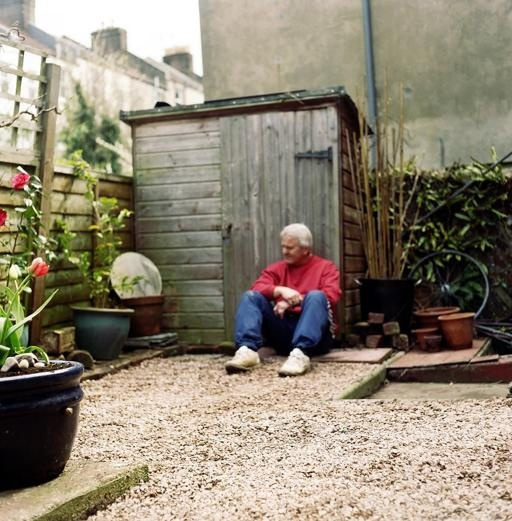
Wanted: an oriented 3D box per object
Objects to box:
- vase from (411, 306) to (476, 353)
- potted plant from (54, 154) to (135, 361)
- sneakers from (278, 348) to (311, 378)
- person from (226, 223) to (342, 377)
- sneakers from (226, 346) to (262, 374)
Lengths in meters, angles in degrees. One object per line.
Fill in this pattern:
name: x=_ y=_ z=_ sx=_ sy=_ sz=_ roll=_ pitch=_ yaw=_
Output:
vase: x=1.471 y=0.496 z=4.470 sx=0.334 sy=0.232 sz=0.358 roll=-2 pitch=-4 yaw=-1
potted plant: x=-1.245 y=-0.082 z=4.601 sx=0.614 sy=1.344 sz=1.040 roll=-2 pitch=1 yaw=-14
sneakers: x=0.257 y=0.656 z=3.813 sx=0.143 sy=0.099 sz=0.296 roll=-1 pitch=2 yaw=21
person: x=0.216 y=0.235 z=4.121 sx=0.658 sy=0.987 sz=0.845 roll=-1 pitch=1 yaw=23
sneakers: x=-0.080 y=0.673 z=3.933 sx=0.115 sy=0.126 sz=0.258 roll=-3 pitch=-8 yaw=22
